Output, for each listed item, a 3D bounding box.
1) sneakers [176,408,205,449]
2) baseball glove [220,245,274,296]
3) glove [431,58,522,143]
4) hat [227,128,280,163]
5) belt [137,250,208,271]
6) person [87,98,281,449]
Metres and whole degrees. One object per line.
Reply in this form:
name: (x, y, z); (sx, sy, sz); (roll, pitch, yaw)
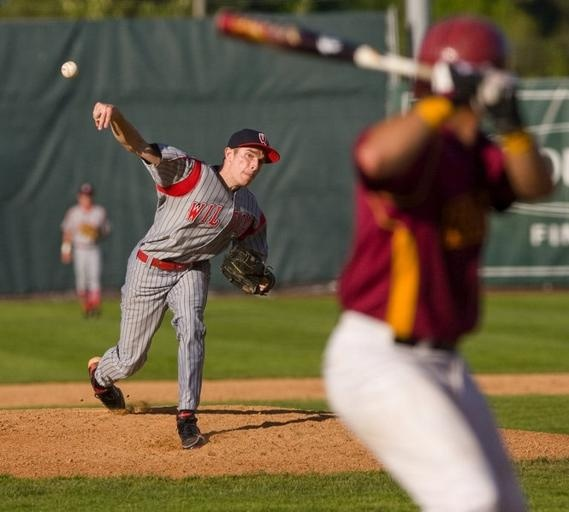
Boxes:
sneakers: (-0.621, 1.110, 7.225); (0.173, 0.223, 0.262); (-1, 4, -5)
baseball glove: (-0.250, 0.027, 7.673); (0.321, 0.174, 0.439); (27, -20, 15)
glove: (0.784, -0.664, 4.485); (0.345, 0.239, 0.159); (32, 35, 0)
hat: (-0.211, -0.750, 7.373); (0.293, 0.143, 0.229); (1, -11, 41)
belt: (-0.758, 0.028, 7.315); (0.451, 0.136, 0.133); (-1, 4, -7)
person: (-0.637, 0.137, 7.368); (1.257, 2.143, 0.877); (-2, 4, -10)
